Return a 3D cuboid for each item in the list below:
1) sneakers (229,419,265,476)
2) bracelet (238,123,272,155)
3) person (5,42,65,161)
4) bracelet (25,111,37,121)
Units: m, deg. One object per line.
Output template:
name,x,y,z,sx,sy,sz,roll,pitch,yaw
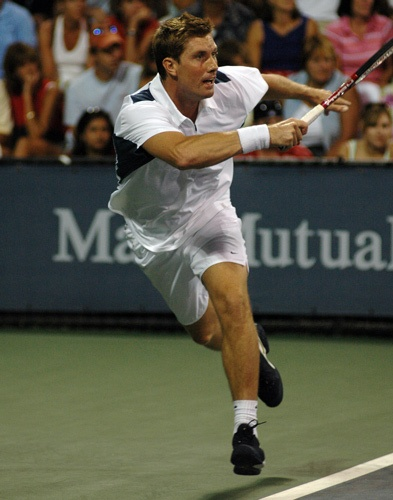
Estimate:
sneakers,0.201,0.829,3.087,0.129,0.231,0.203,-4,17,2
bracelet,0.240,-0.479,3.261,0.136,0.113,0.134,-3,17,4
person,-1.760,-1.575,8.434,0.563,1.435,0.628,-7,-10,-14
bracelet,-1.753,-1.453,8.181,0.095,0.082,0.109,-7,17,-10
